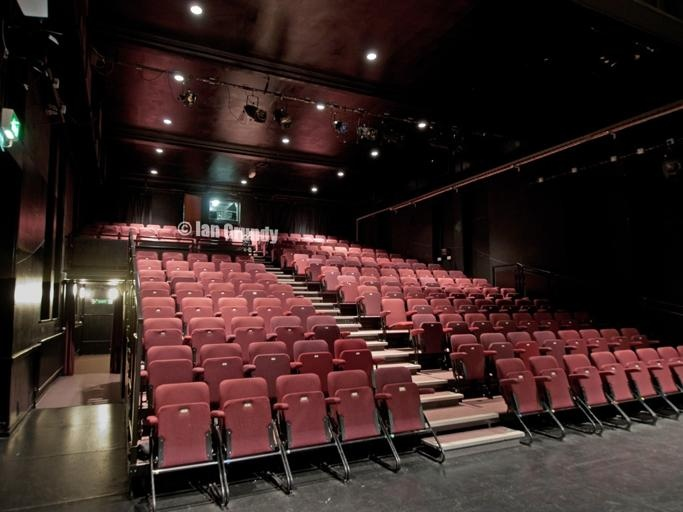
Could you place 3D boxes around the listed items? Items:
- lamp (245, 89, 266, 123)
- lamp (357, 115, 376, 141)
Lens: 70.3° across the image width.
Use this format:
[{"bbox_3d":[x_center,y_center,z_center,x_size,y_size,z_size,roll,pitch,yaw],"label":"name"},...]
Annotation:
[{"bbox_3d":[-1.853,-3.110,10.338,0.392,0.806,1.002,-4,-11,-11],"label":"lamp"},{"bbox_3d":[0.590,-2.948,11.196,0.398,0.595,0.239,2,5,-31],"label":"lamp"}]
